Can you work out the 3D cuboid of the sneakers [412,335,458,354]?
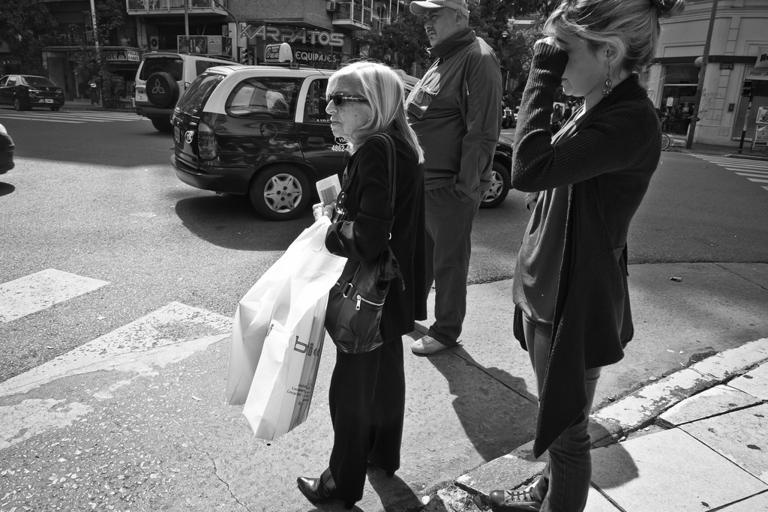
[{"bbox_3d":[0.425,0.747,4.493,0.387,0.165,0.141,3,21,-7],"label":"sneakers"}]

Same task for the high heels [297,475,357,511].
[{"bbox_3d":[-0.312,1.351,3.006,0.275,0.129,0.099,26,37,16],"label":"high heels"}]

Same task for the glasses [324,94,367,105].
[{"bbox_3d":[-0.201,-0.828,2.780,0.112,0.032,0.108,-1,11,-17],"label":"glasses"}]

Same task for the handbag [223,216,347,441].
[{"bbox_3d":[-0.509,0.366,2.799,0.567,1.099,0.470,-10,22,-35],"label":"handbag"}]
